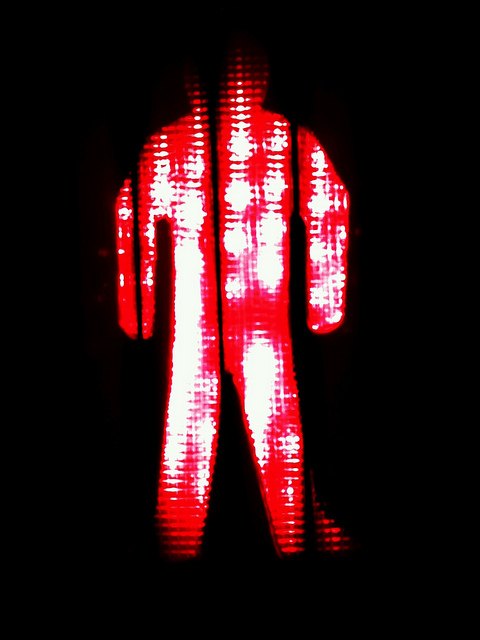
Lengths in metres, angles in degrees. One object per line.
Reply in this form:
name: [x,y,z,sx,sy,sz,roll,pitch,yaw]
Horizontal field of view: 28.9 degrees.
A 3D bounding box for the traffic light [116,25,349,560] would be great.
traffic light: [-0.016,-0.035,1.198,0.289,0.875,0.037,-4,-29,4]
